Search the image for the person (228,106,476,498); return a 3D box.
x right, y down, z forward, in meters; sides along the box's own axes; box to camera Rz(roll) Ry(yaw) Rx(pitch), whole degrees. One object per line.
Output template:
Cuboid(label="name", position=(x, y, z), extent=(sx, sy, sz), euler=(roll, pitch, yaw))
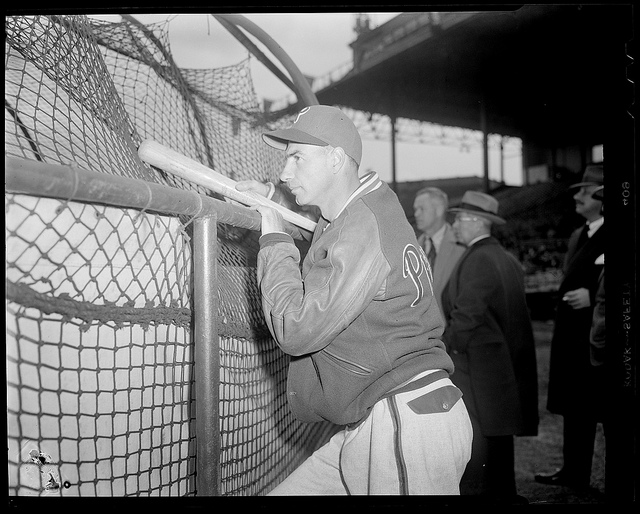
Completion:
Cuboid(label="person", position=(0.100, 0.196, 3.012), extent=(0.912, 1.740, 0.589), euler=(-3, -8, 27))

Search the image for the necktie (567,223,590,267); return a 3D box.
Cuboid(label="necktie", position=(1.544, -0.078, 4.330), extent=(0.045, 0.288, 0.082), euler=(-8, -34, 21))

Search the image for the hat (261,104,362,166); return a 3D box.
Cuboid(label="hat", position=(-0.066, -0.536, 3.164), extent=(0.439, 0.335, 0.632), euler=(4, 16, 6))

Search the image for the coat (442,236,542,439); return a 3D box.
Cuboid(label="coat", position=(1.102, 0.535, 4.723), extent=(0.583, 1.368, 0.378), euler=(-1, -7, 14))

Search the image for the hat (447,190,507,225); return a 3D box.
Cuboid(label="hat", position=(1.119, -0.398, 5.254), extent=(0.490, 0.213, 0.472), euler=(5, 6, -29))

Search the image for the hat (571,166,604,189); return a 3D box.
Cuboid(label="hat", position=(1.676, -0.521, 4.562), extent=(0.194, 0.173, 0.152), euler=(-2, -4, 28))

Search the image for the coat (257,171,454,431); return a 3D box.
Cuboid(label="coat", position=(0.162, 0.210, 3.284), extent=(0.786, 1.148, 1.153), euler=(-1, 17, 4))

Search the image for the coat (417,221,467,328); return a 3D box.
Cuboid(label="coat", position=(0.917, 0.095, 5.425), extent=(0.199, 0.710, 0.494), euler=(1, -4, -15))

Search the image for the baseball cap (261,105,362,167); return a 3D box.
Cuboid(label="baseball cap", position=(-0.014, -0.519, 3.121), extent=(0.332, 0.187, 0.264), euler=(20, 7, -7))
